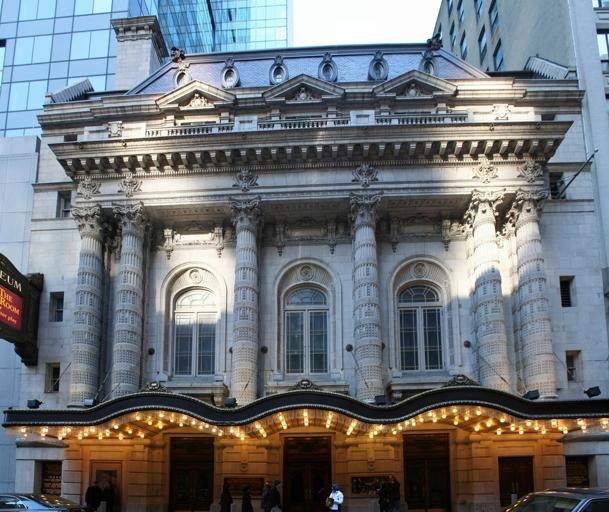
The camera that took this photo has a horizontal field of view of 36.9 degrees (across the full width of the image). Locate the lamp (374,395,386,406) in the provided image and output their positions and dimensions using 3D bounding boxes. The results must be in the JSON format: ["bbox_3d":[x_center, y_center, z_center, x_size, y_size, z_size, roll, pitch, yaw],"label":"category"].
[{"bbox_3d":[3.154,5.840,37.017,0.391,0.395,0.394,1,-19,-5],"label":"lamp"}]

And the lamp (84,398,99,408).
[{"bbox_3d":[-9.302,6.354,39.606,0.558,0.379,0.785,0,-16,2],"label":"lamp"}]

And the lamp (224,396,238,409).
[{"bbox_3d":[-2.952,6.010,37.220,0.646,0.472,0.451,5,4,24],"label":"lamp"}]

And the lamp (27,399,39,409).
[{"bbox_3d":[-11.317,6.165,37.953,0.347,0.450,0.669,-2,9,-8],"label":"lamp"}]
